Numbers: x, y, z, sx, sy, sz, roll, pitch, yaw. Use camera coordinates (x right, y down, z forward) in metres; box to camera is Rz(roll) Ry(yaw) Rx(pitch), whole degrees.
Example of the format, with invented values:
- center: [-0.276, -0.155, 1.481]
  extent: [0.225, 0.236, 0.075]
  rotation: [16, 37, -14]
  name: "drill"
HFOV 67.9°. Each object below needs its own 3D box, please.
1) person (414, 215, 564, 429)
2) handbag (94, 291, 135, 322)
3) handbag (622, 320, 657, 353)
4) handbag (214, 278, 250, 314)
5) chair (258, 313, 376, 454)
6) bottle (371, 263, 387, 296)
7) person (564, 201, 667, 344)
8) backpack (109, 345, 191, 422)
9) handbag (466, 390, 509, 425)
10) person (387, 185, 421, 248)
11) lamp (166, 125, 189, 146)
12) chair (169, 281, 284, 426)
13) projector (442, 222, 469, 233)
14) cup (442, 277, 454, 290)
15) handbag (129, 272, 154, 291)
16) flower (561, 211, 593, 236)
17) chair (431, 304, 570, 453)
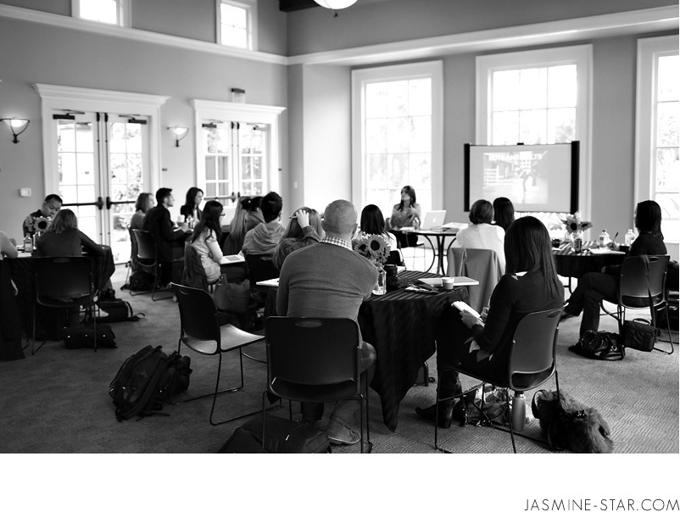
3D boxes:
- center: [0.917, 0.310, 2.947]
  extent: [0.699, 1.063, 0.391]
  rotation: [4, 8, 26]
  name: "person"
- center: [-2.536, 0.605, 5.795]
  extent: [0.313, 0.187, 0.408]
  rotation: [5, 14, -13]
  name: "handbag"
- center: [2.724, 0.718, 4.627]
  extent: [0.289, 0.331, 0.219]
  rotation: [9, 3, 13]
  name: "handbag"
- center: [-0.966, 0.313, 4.437]
  extent: [0.338, 0.389, 0.219]
  rotation: [5, -3, -22]
  name: "handbag"
- center: [-0.114, 0.749, 2.906]
  extent: [0.609, 0.930, 0.574]
  rotation: [1, 7, 4]
  name: "chair"
- center: [0.276, 0.170, 3.359]
  extent: [0.100, 0.191, 0.175]
  rotation: [4, 9, 27]
  name: "bottle"
- center: [2.614, 0.109, 4.780]
  extent: [0.834, 1.247, 0.597]
  rotation: [0, 7, -4]
  name: "person"
- center: [-1.420, 0.906, 3.763]
  extent: [0.514, 0.306, 0.668]
  rotation: [8, 18, 35]
  name: "backpack"
- center: [0.990, 0.976, 3.336]
  extent: [0.196, 0.107, 0.274]
  rotation: [4, 15, 39]
  name: "handbag"
- center: [1.072, -0.683, 8.427]
  extent: [0.488, 0.937, 0.593]
  rotation: [7, 5, 30]
  name: "person"
- center: [-3.067, -2.244, 9.548]
  extent: [0.334, 0.393, 0.331]
  rotation: [-4, 6, -34]
  name: "lamp"
- center: [-0.813, 0.653, 3.547]
  extent: [0.647, 0.931, 0.625]
  rotation: [-4, 7, -27]
  name: "chair"
- center: [1.616, -0.396, 7.147]
  extent: [0.312, 0.107, 0.304]
  rotation: [-10, 11, -40]
  name: "projector"
- center: [0.734, 0.195, 3.418]
  extent: [0.064, 0.071, 0.075]
  rotation: [0, -3, -17]
  name: "cup"
- center: [-2.790, 0.348, 7.183]
  extent: [0.281, 0.315, 0.267]
  rotation: [0, 6, -4]
  name: "handbag"
- center: [3.432, -0.476, 7.266]
  extent: [0.471, 0.319, 0.498]
  rotation: [3, 4, 29]
  name: "flower"
- center: [1.000, 0.732, 3.108]
  extent: [0.586, 0.957, 0.677]
  rotation: [-4, 7, -23]
  name: "chair"
